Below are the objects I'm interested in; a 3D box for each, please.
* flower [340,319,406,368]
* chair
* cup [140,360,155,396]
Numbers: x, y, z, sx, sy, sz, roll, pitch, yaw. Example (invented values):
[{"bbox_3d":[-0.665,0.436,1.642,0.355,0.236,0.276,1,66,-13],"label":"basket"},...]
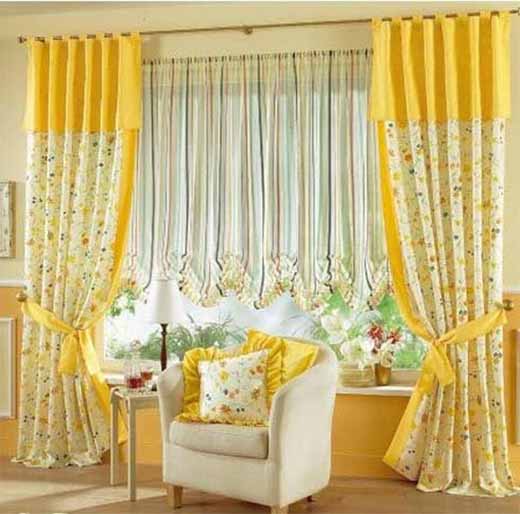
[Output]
[{"bbox_3d":[0.660,0.532,4.717,0.359,0.264,0.133,-1,4,8],"label":"flower"},{"bbox_3d":[-0.019,1.013,4.361,0.826,1.007,0.761,-5,-15,27],"label":"chair"},{"bbox_3d":[-0.633,0.707,4.622,0.118,0.214,0.120,-1,2,0],"label":"cup"}]
